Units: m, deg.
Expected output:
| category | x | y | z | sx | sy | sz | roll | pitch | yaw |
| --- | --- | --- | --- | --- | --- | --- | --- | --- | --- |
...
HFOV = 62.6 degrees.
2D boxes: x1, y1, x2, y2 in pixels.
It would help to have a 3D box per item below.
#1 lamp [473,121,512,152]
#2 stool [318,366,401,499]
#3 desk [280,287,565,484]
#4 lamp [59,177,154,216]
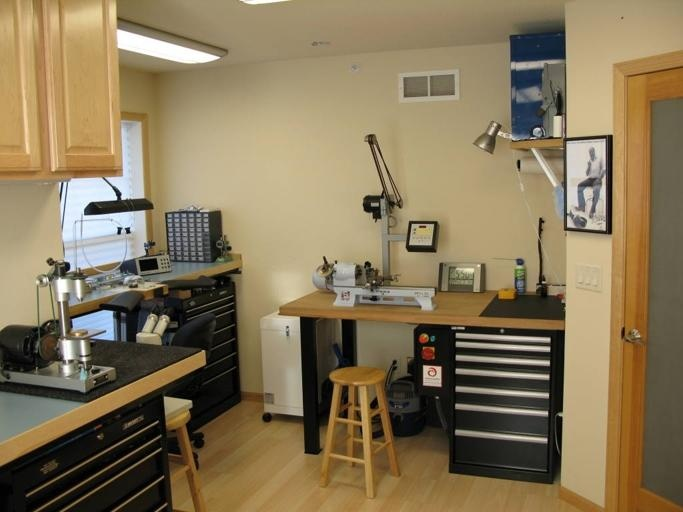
| category | x | y | z | sx | sy | sz | roll | pitch | yaw |
| --- | --- | --- | --- | --- | --- | --- | --- | --- | --- |
| lamp | 1.091 | -0.819 | 3.916 | 0.139 | 0.186 | 0.248 | 12 | 11 | -31 |
| stool | 0.135 | 1.164 | 3.775 | 0.545 | 0.704 | 0.577 | -3 | 2 | -29 |
| desk | 0.613 | 0.844 | 4.171 | 1.929 | 1.101 | 0.903 | 2 | 12 | 17 |
| lamp | -1.833 | -0.439 | 4.356 | 0.590 | 0.316 | 0.792 | -8 | 13 | -31 |
